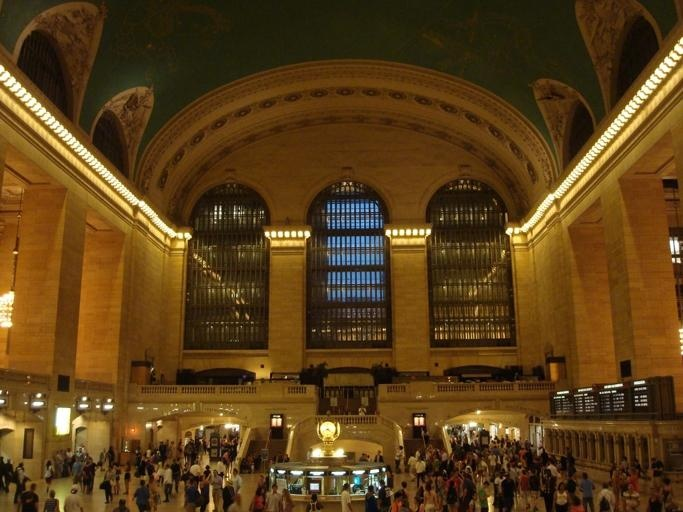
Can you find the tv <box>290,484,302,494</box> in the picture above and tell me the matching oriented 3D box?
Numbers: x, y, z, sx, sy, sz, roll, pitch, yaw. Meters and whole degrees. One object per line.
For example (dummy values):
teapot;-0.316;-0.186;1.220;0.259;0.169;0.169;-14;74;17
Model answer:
tv;-1.276;6.645;17.490;0.369;0.387;0.211;0;-23;-1
